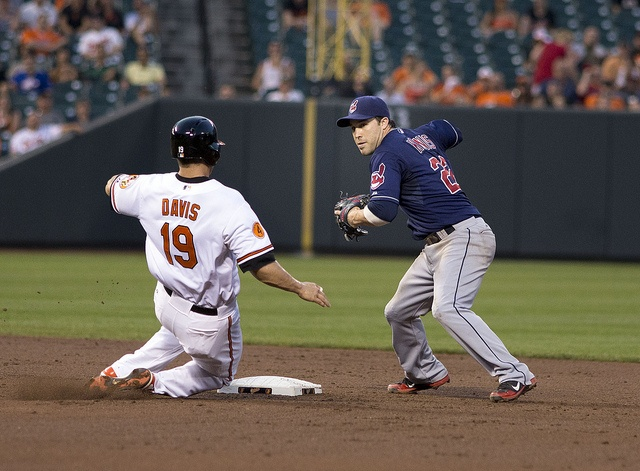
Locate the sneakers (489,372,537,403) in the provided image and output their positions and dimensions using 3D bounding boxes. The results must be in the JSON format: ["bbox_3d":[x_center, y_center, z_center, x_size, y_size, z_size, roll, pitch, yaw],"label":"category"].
[{"bbox_3d":[1.810,1.453,11.611,0.468,0.160,0.194,-13,52,-22],"label":"sneakers"}]

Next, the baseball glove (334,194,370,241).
[{"bbox_3d":[0.279,-0.159,11.788,0.228,0.431,0.343,2,-1,21],"label":"baseball glove"}]

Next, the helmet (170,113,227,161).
[{"bbox_3d":[-1.101,-0.895,11.381,0.401,0.352,0.469,11,18,41],"label":"helmet"}]

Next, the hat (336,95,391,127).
[{"bbox_3d":[0.450,-1.183,11.752,0.412,0.193,0.272,1,2,-11],"label":"hat"}]

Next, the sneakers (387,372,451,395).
[{"bbox_3d":[0.966,1.448,12.009,0.655,0.251,0.209,-1,3,7],"label":"sneakers"}]
